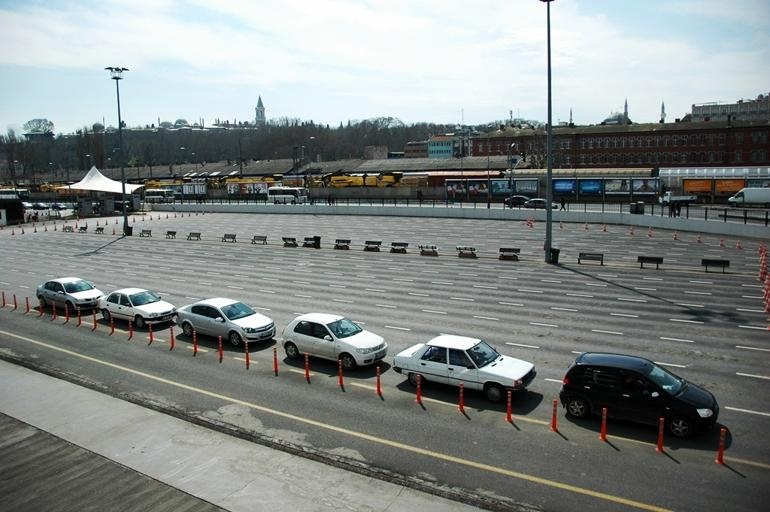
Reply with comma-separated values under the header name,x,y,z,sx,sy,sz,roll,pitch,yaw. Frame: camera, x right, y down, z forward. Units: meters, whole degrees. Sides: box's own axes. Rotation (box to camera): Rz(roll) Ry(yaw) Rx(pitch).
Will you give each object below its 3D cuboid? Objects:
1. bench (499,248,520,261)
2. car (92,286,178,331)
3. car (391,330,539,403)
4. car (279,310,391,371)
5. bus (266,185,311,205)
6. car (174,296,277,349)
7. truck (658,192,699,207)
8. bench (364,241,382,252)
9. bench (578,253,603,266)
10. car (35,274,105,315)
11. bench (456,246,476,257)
name,x,y,z,sx,sy,sz,roll,pitch,yaw
bench,8.939,-0.224,47.124,1.398,0.788,1.568,0,10,8
car,-12.707,2.671,33.468,3.906,1.399,1.843,7,13,32
car,3.234,4.242,25.870,4.881,1.626,2.389,4,15,27
car,-2.205,3.500,28.272,3.936,1.633,2.203,4,11,25
bus,-13.940,-8.778,94.172,4.485,2.120,2.754,0,9,8
car,-7.438,2.958,30.998,4.446,1.503,2.084,6,14,27
truck,31.231,-6.041,69.780,4.241,1.923,2.628,2,8,22
bench,-0.946,-0.802,52.605,1.778,1.103,0.732,0,-18,8
bench,14.113,0.046,45.063,1.617,0.783,2.675,1,10,11
car,-17.330,2.044,35.862,3.957,1.401,1.959,7,11,36
bench,6.103,-0.354,48.772,1.314,0.644,2.138,-2,10,-6
